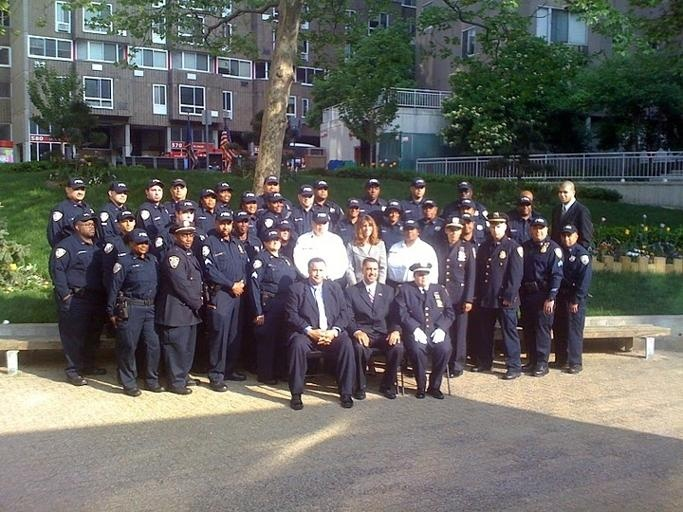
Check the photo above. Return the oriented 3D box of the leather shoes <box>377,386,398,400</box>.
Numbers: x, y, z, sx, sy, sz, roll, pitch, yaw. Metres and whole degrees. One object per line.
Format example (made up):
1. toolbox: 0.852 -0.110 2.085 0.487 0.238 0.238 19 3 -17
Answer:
1. leather shoes: 0.662 1.991 11.758 0.107 0.118 0.290 4 -5 -32

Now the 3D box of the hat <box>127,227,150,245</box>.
1. hat: -2.967 -0.283 11.648 0.243 0.187 0.288 -10 16 -40

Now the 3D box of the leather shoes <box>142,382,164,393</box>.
1. leather shoes: -2.769 1.903 11.662 0.312 0.128 0.118 -2 -3 21

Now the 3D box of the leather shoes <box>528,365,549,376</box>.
1. leather shoes: 3.135 1.834 12.887 0.151 0.157 0.385 -18 -23 40

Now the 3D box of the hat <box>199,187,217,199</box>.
1. hat: -2.269 -1.078 13.343 0.195 0.104 0.280 1 -2 -26

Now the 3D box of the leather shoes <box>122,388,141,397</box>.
1. leather shoes: -2.998 1.928 11.398 0.245 0.101 0.092 -4 -11 15

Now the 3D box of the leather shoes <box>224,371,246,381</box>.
1. leather shoes: -1.669 1.833 12.347 0.323 0.133 0.122 1 0 -5

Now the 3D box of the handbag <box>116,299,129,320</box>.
1. handbag: -3.165 0.748 11.469 0.180 0.303 0.117 1 12 -1

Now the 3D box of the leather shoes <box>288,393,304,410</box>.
1. leather shoes: -0.646 2.000 11.137 0.186 0.171 0.309 0 13 -4

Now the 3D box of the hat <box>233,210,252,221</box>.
1. hat: -1.585 -0.620 12.552 0.224 0.169 0.319 -2 13 -12

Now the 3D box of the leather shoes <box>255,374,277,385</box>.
1. leather shoes: -1.175 1.863 12.203 0.241 0.171 0.135 -5 -7 31

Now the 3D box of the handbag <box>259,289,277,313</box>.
1. handbag: -1.185 0.679 12.324 0.257 0.305 0.242 9 0 -16

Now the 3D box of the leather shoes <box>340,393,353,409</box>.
1. leather shoes: 0.037 2.016 11.227 0.126 0.125 0.310 1 -11 -8

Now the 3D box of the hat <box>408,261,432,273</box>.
1. hat: 1.186 0.171 12.472 0.346 0.190 0.565 3 13 8

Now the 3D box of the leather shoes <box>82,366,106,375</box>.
1. leather shoes: -3.828 1.740 12.333 0.323 0.141 0.121 0 1 -7

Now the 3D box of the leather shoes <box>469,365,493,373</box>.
1. leather shoes: 2.228 1.827 13.002 0.334 0.138 0.124 5 -6 -5

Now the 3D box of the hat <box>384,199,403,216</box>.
1. hat: 0.922 -0.836 13.520 0.281 0.212 0.461 2 -1 6

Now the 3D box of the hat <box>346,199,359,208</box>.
1. hat: 0.172 -0.913 13.748 0.185 0.141 0.305 -1 0 -1

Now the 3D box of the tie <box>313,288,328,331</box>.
1. tie: -0.342 0.750 11.931 0.167 0.575 0.279 -3 12 -16

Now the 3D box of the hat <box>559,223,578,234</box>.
1. hat: 3.648 -0.462 13.192 0.225 0.170 0.371 -1 -2 19

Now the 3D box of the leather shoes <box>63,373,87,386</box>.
1. leather shoes: -3.899 1.795 11.774 0.319 0.118 0.138 -2 -1 43

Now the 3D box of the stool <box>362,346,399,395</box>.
1. stool: 0.579 1.635 11.916 0.543 0.685 0.692 3 12 11

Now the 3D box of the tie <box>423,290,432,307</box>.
1. tie: 1.267 0.633 12.260 0.072 0.193 0.147 1 12 2

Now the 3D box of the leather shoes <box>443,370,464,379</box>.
1. leather shoes: 1.736 1.847 12.587 0.369 0.157 0.159 8 -9 -28

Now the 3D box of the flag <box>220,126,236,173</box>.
1. flag: -4.429 -4.110 30.383 0.509 1.936 0.425 3 25 -7

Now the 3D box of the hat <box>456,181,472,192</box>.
1. hat: 2.172 -1.250 14.393 0.201 0.153 0.271 -4 -17 21

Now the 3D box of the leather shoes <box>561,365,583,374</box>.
1. leather shoes: 3.662 1.811 12.907 0.311 0.138 0.134 0 5 41

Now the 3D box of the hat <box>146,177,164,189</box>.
1. hat: -3.027 -1.163 12.833 0.207 0.188 0.334 1 -2 -32

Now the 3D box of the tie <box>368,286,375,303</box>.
1. tie: 0.423 0.554 12.262 0.117 0.205 0.051 0 -14 13

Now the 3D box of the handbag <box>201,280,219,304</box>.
1. handbag: -1.995 0.547 12.027 0.213 0.313 0.130 10 -6 -31

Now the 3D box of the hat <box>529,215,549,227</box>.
1. hat: 3.166 -0.577 13.077 0.245 0.179 0.404 0 8 6

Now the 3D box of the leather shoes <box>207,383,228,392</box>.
1. leather shoes: -1.843 1.900 11.785 0.292 0.104 0.259 1 13 0

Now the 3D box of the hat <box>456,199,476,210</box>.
1. hat: 2.135 -0.914 13.877 0.259 0.191 0.426 1 -5 16

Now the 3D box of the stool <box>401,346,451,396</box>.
1. stool: 1.255 1.650 11.846 0.623 0.730 0.641 0 12 -4

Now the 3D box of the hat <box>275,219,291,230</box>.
1. hat: -0.938 -0.504 12.654 0.202 0.133 0.329 0 13 -5

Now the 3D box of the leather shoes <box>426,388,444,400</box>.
1. leather shoes: 1.344 1.989 11.659 0.254 0.108 0.206 2 13 7

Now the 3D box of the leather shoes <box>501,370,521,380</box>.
1. leather shoes: 2.625 1.864 12.637 0.302 0.152 0.117 1 -5 -31

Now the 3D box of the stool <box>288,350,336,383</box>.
1. stool: -0.417 1.788 12.443 0.484 0.578 0.894 -2 6 -20

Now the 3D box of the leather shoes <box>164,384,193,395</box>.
1. leather shoes: -2.371 1.921 11.663 0.400 0.176 0.138 -8 -7 17
